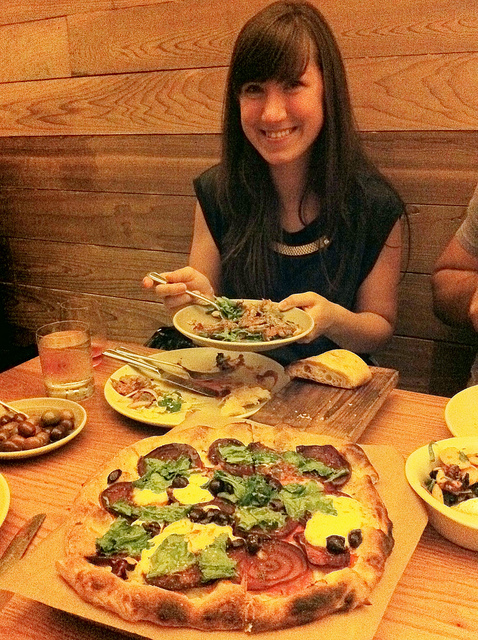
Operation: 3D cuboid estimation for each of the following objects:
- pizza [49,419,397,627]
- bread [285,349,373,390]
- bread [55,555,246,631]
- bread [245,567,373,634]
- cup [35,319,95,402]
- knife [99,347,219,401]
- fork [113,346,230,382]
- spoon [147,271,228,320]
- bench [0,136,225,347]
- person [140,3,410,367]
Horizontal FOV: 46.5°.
[{"bbox_3d":[-0.010,0.313,0.980,0.564,0.071,0.551,6,24,14],"label":"pizza"},{"bbox_3d":[0.260,0.121,1.548,0.216,0.073,0.159,15,28,31],"label":"bread"},{"bbox_3d":[-0.123,0.381,0.762,0.141,0.021,0.099,8,-9,21],"label":"bread"},{"bbox_3d":[0.093,0.378,0.753,0.105,0.016,0.077,-10,10,-19],"label":"bread"},{"bbox_3d":[-0.466,0.124,1.491,0.153,0.195,0.134,-6,4,0],"label":"cup"},{"bbox_3d":[-0.224,0.156,1.555,0.359,0.026,0.054,20,-8,37],"label":"knife"},{"bbox_3d":[-0.191,0.130,1.614,0.256,0.033,0.041,16,23,27],"label":"fork"},{"bbox_3d":[-0.149,-0.079,1.662,0.283,0.121,0.102,8,27,18],"label":"spoon"},{"bbox_3d":[-0.660,-0.487,2.975,1.562,0.966,0.027,5,23,19],"label":"bench"},{"bbox_3d":[0.196,-0.533,2.262,0.916,1.315,0.609,20,33,36],"label":"person"}]
